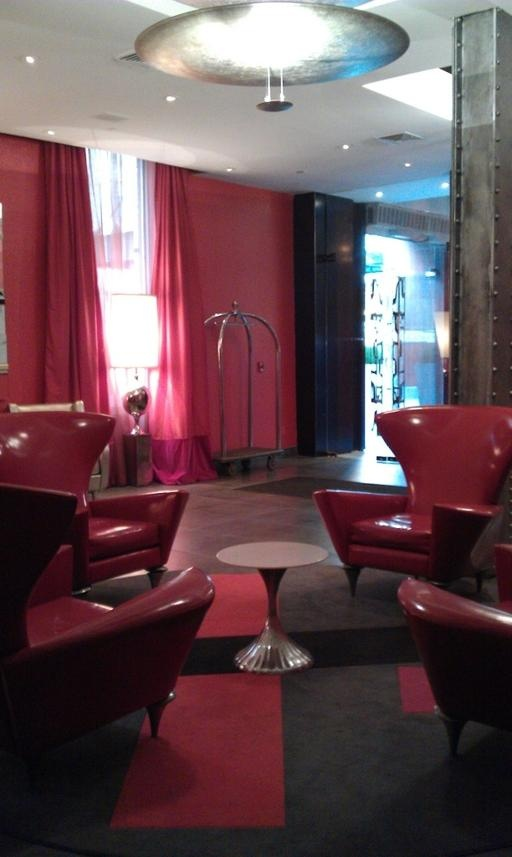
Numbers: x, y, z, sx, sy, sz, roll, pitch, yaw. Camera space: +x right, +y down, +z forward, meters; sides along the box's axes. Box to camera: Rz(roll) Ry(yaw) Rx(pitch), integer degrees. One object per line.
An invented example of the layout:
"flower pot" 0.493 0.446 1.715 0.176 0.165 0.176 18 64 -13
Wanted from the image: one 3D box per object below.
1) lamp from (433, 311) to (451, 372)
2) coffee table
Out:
"lamp" 2.353 -1.107 7.935 0.113 0.749 0.220 0 -2 -11
"coffee table" 0.063 0.652 2.441 0.393 0.442 0.416 -1 0 2
